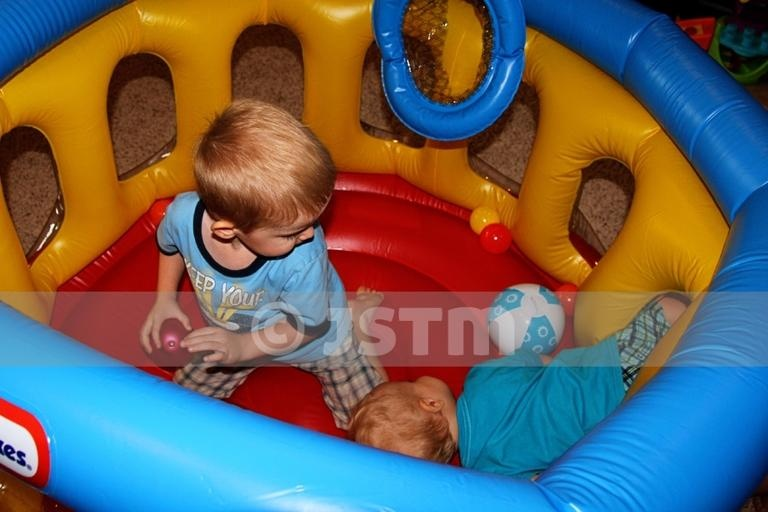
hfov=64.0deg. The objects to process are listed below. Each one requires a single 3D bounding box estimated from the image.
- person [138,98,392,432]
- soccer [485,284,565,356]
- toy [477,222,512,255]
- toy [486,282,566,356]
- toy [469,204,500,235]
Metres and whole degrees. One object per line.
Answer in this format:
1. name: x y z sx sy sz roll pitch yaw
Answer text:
1. person: -0.388 0.061 1.853 0.651 0.996 0.605 11 9 27
2. soccer: 0.487 0.220 2.085 0.218 0.180 0.239 -1 44 2
3. toy: 0.425 -0.067 2.369 0.107 0.114 0.108 -20 7 22
4. toy: 0.485 0.221 2.085 0.219 0.184 0.240 2 46 4
5. toy: 0.381 -0.143 2.416 0.101 0.107 0.121 -31 -17 -9
